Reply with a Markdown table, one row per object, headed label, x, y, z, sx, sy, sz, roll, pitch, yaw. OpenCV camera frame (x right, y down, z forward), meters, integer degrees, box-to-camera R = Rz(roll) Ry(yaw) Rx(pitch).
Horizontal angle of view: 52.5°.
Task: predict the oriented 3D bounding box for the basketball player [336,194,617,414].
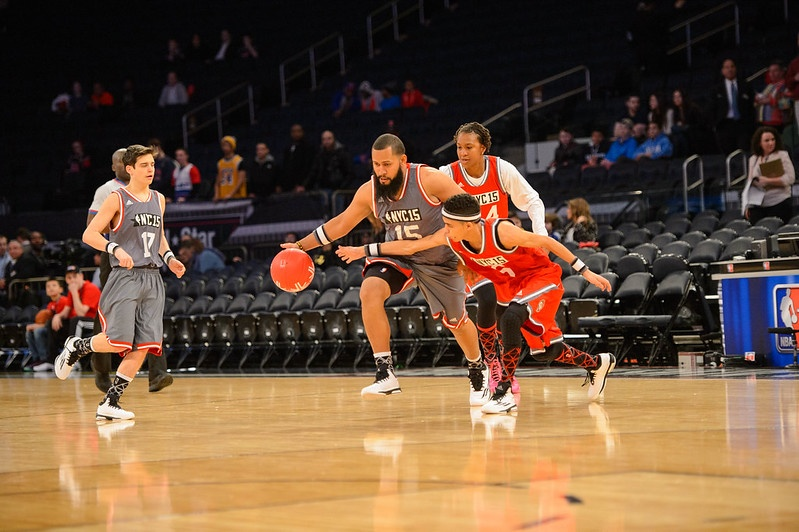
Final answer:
| label | x | y | z | sx | sy | sz | roll | pitch | yaw |
| --- | --- | --- | --- | --- | --- | --- | --- | --- | --- |
| basketball player | 0.770 | 0.275 | 6.068 | 1.774 | 1.556 | 0.837 | -2 | -2 | -3 |

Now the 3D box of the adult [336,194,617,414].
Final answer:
| label | x | y | z | sx | sy | sz | roll | pitch | yaw |
| --- | --- | --- | --- | --- | --- | --- | --- | --- | --- |
| adult | 0.768 | 0.275 | 6.068 | 1.770 | 1.556 | 0.837 | -2 | -2 | -3 |

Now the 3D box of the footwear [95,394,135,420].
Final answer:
| label | x | y | z | sx | sy | sz | roll | pitch | yaw |
| --- | --- | --- | --- | --- | --- | --- | --- | --- | --- |
| footwear | -2.142 | 1.089 | 6.146 | 0.337 | 0.207 | 0.140 | 0 | -2 | 0 |

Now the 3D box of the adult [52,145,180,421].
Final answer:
| label | x | y | z | sx | sy | sz | roll | pitch | yaw |
| --- | --- | --- | --- | --- | --- | --- | --- | --- | --- |
| adult | -2.070 | 0.116 | 6.360 | 0.732 | 2.108 | 0.531 | -2 | -2 | -23 |

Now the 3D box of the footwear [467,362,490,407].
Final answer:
| label | x | y | z | sx | sy | sz | roll | pitch | yaw |
| --- | --- | --- | --- | --- | --- | --- | --- | --- | --- |
| footwear | 0.616 | 0.921 | 6.224 | 0.117 | 0.341 | 0.138 | -8 | -17 | 28 |

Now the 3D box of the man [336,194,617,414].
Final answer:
| label | x | y | z | sx | sy | sz | roll | pitch | yaw |
| --- | --- | --- | --- | --- | --- | --- | --- | --- | --- |
| man | 0.768 | 0.275 | 6.068 | 1.793 | 1.556 | 0.837 | -2 | -2 | -3 |

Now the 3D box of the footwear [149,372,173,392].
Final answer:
| label | x | y | z | sx | sy | sz | roll | pitch | yaw |
| --- | --- | --- | --- | --- | --- | --- | --- | --- | --- |
| footwear | -2.447 | 1.208 | 8.237 | 0.279 | 0.126 | 0.134 | -39 | -34 | 19 |

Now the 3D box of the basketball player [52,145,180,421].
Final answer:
| label | x | y | z | sx | sy | sz | roll | pitch | yaw |
| --- | --- | --- | --- | --- | --- | --- | --- | --- | --- |
| basketball player | -2.069 | 0.116 | 6.360 | 0.733 | 2.108 | 0.530 | -2 | -2 | -23 |

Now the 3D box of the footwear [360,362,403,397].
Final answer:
| label | x | y | z | sx | sy | sz | roll | pitch | yaw |
| --- | --- | --- | --- | --- | --- | --- | --- | --- | --- |
| footwear | -0.166 | 0.901 | 6.349 | 0.402 | 0.281 | 0.152 | -3 | -6 | -4 |

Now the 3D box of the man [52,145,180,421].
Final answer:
| label | x | y | z | sx | sy | sz | roll | pitch | yaw |
| --- | --- | --- | --- | --- | --- | --- | --- | --- | --- |
| man | -2.070 | 0.116 | 6.360 | 0.732 | 2.108 | 0.530 | -2 | -2 | -23 |

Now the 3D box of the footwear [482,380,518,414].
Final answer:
| label | x | y | z | sx | sy | sz | roll | pitch | yaw |
| --- | --- | --- | --- | --- | --- | --- | --- | --- | --- |
| footwear | 0.732 | 0.943 | 5.775 | 0.289 | 0.209 | 0.139 | -1 | -2 | -32 |
